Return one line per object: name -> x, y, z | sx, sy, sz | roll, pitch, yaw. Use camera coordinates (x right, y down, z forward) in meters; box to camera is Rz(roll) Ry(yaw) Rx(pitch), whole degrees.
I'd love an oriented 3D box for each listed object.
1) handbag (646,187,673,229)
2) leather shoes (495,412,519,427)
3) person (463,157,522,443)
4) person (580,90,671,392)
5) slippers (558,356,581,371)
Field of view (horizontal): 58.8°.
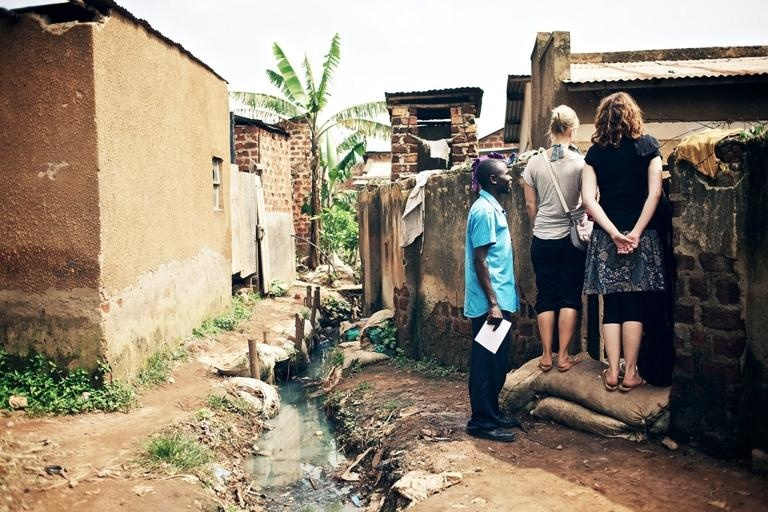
handbag -> 2.922, -0.517, 7.305 | 0.194, 0.390, 0.333 | -4, 18, 13
leather shoes -> 1.404, 1.894, 7.883 | 0.280, 0.137, 0.117 | -1, 8, 4
person -> 1.185, 0.481, 7.707 | 0.606, 3.067, 0.923 | -2, 13, 10
person -> 2.571, -0.144, 7.392 | 0.865, 3.159, 0.725 | 1, 14, 21
slippers -> 2.122, 1.219, 7.887 | 0.267, 0.103, 0.144 | -21, 17, -40
